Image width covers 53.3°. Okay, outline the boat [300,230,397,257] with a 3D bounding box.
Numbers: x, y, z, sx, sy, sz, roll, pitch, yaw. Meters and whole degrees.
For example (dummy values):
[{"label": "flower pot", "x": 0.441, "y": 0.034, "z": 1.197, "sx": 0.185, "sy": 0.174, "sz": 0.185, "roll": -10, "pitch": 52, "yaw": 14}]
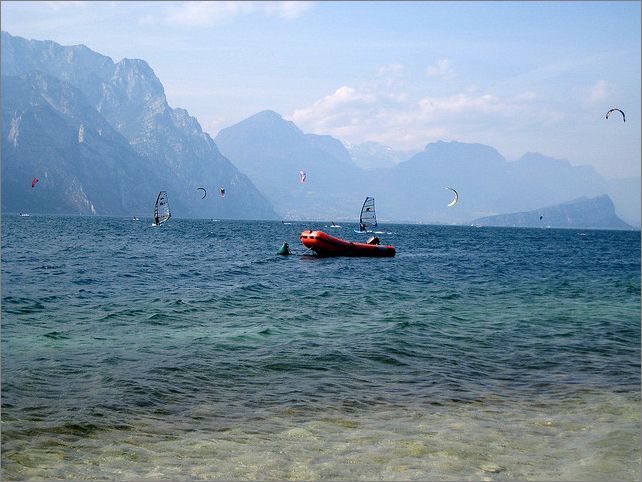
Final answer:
[{"label": "boat", "x": 2.100, "y": 0.478, "z": 47.103, "sx": 7.682, "sy": 1.744, "sz": 2.285, "roll": 10, "pitch": -35, "yaw": -39}]
